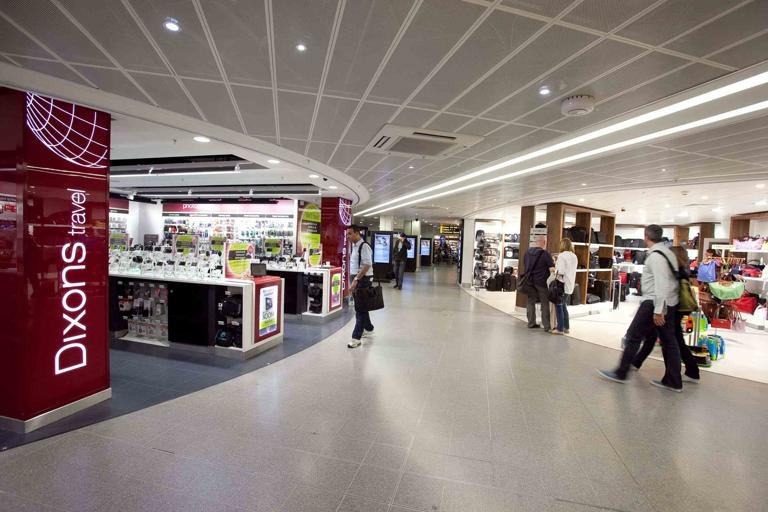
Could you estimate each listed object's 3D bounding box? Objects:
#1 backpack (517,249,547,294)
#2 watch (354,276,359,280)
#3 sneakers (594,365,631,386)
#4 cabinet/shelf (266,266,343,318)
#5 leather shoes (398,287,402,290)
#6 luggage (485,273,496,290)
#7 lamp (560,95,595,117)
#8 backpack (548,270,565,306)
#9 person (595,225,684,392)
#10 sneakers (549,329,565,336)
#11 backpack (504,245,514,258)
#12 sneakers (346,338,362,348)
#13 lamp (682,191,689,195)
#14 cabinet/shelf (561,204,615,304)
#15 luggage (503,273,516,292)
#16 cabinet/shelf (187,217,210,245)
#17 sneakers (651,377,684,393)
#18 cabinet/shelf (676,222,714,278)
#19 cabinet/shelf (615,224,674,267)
[{"bbox_3d":[3.153,0.297,9.774,0.273,0.955,0.630,0,3,-29],"label":"backpack"},{"bbox_3d":[-0.494,0.385,8.221,0.062,0.104,0.075,-3,-5,13],"label":"watch"},{"bbox_3d":[3.490,1.817,7.057,0.449,0.183,0.193,11,6,31],"label":"sneakers"},{"bbox_3d":[-1.535,0.861,10.752,1.237,0.742,1.223,2,1,9],"label":"cabinet/shelf"},{"bbox_3d":[0.524,1.084,15.662,0.175,0.091,0.116,0,11,-3],"label":"leather shoes"},{"bbox_3d":[3.861,0.984,16.640,0.312,0.490,0.287,1,2,0],"label":"luggage"},{"bbox_3d":[2.566,-1.996,6.078,0.423,0.202,0.368,3,3,22],"label":"lamp"},{"bbox_3d":[3.504,0.667,9.349,0.319,0.567,0.307,2,2,18],"label":"backpack"},{"bbox_3d":[3.932,0.741,6.777,0.945,2.412,0.607,2,2,24],"label":"person"},{"bbox_3d":[3.576,1.567,9.538,0.281,0.118,0.101,10,5,29],"label":"sneakers"},{"bbox_3d":[4.483,-0.179,16.458,0.392,0.424,0.352,4,4,42],"label":"backpack"},{"bbox_3d":[-0.543,1.543,8.250,0.210,0.125,0.368,3,3,21],"label":"sneakers"},{"bbox_3d":[6.738,-1.417,10.299,0.116,0.027,0.107,2,-3,-33],"label":"lamp"},{"bbox_3d":[5.234,-0.013,11.767,0.732,2.618,2.759,2,1,43],"label":"cabinet/shelf"},{"bbox_3d":[4.570,0.951,16.565,0.544,0.965,0.672,0,3,12],"label":"luggage"},{"bbox_3d":[-6.876,-1.124,16.952,1.148,0.731,0.280,4,3,35],"label":"cabinet/shelf"},{"bbox_3d":[4.137,1.900,6.770,0.154,0.162,0.412,7,6,-43],"label":"sneakers"},{"bbox_3d":[8.759,-0.235,12.866,0.498,1.472,1.630,1,0,10],"label":"cabinet/shelf"},{"bbox_3d":[7.000,-0.291,12.469,0.887,1.530,1.656,1,1,20],"label":"cabinet/shelf"}]
